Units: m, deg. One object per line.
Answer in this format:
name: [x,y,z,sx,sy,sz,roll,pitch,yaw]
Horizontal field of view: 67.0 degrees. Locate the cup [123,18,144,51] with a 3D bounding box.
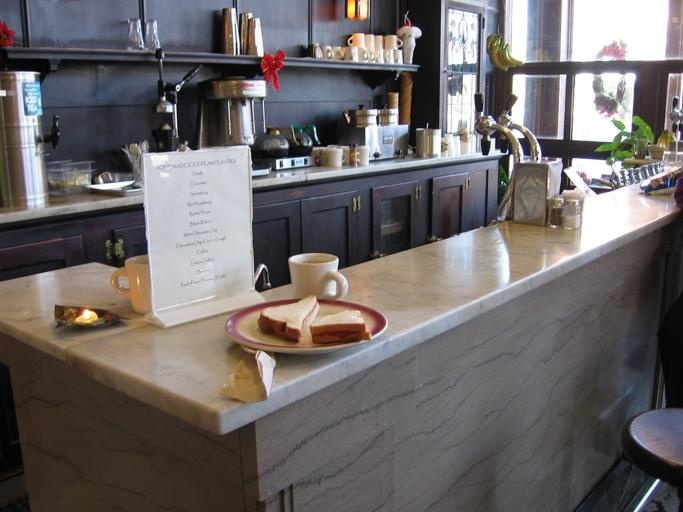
cup: [-1.268,-1.371,3.167,0.102,0.212,0.250,-6,16,-19]

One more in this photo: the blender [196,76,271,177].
blender: [-0.763,-1.030,3.633,0.448,0.516,0.511,15,28,22]

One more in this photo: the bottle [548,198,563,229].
bottle: [0.805,-0.164,1.942,0.026,0.106,0.062,-8,16,-26]

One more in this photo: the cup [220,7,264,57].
cup: [-0.702,-1.568,3.601,0.276,0.351,0.340,-9,17,-27]

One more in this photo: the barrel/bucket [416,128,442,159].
barrel/bucket: [0.788,-1.019,4.593,0.241,0.311,0.260,-1,15,0]

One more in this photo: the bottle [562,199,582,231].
bottle: [0.860,-0.155,1.903,0.071,0.109,0.059,0,15,5]

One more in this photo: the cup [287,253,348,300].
cup: [-0.051,0.069,1.233,0.155,0.119,0.102,12,17,33]

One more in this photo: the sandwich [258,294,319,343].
sandwich: [-0.111,0.127,1.063,0.110,0.045,0.137,1,16,7]

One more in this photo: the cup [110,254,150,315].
cup: [-0.478,0.073,1.198,0.101,0.112,0.068,-1,10,-13]

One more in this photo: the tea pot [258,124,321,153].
tea pot: [-0.406,-0.854,3.759,0.331,0.156,0.262,0,12,18]

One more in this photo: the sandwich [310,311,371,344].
sandwich: [-0.002,0.132,1.031,0.113,0.040,0.131,-1,16,0]

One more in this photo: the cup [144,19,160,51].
cup: [-1.182,-1.387,3.223,0.090,0.217,0.314,-5,16,-17]
